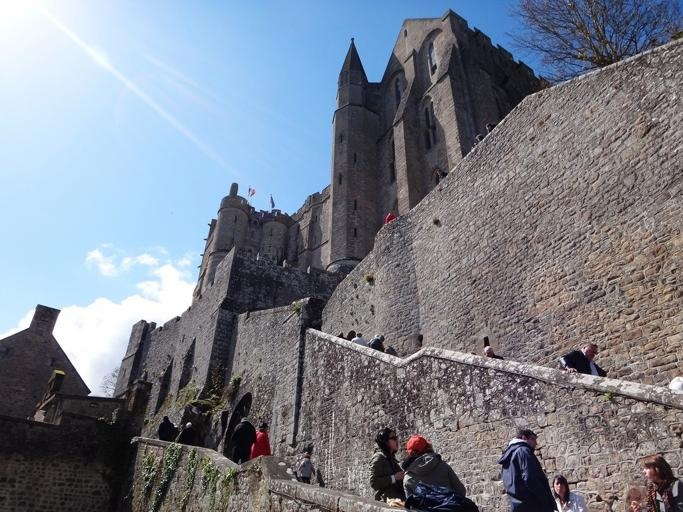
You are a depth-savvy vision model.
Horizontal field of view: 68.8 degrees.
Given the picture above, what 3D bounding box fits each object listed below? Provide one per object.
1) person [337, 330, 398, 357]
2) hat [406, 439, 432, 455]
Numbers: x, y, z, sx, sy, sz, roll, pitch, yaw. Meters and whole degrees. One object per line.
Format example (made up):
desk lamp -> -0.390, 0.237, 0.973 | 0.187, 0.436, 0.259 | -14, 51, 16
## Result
person -> 0.744, 2.292, 13.119 | 1.142, 0.387, 0.363 | 17, -71, 2
hat -> 0.986, 2.392, 6.334 | 0.266, 0.144, 0.191 | -6, -3, -27
